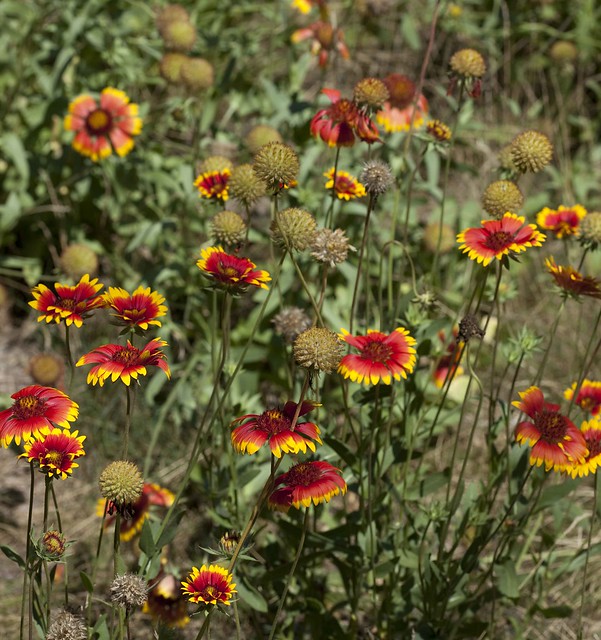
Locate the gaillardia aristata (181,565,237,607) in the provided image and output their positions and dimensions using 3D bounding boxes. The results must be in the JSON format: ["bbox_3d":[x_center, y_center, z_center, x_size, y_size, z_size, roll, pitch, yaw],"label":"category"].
[{"bbox_3d":[-0.222,0.638,1.730,0.118,0.088,0.109,7,53,2],"label":"gaillardia aristata"}]
